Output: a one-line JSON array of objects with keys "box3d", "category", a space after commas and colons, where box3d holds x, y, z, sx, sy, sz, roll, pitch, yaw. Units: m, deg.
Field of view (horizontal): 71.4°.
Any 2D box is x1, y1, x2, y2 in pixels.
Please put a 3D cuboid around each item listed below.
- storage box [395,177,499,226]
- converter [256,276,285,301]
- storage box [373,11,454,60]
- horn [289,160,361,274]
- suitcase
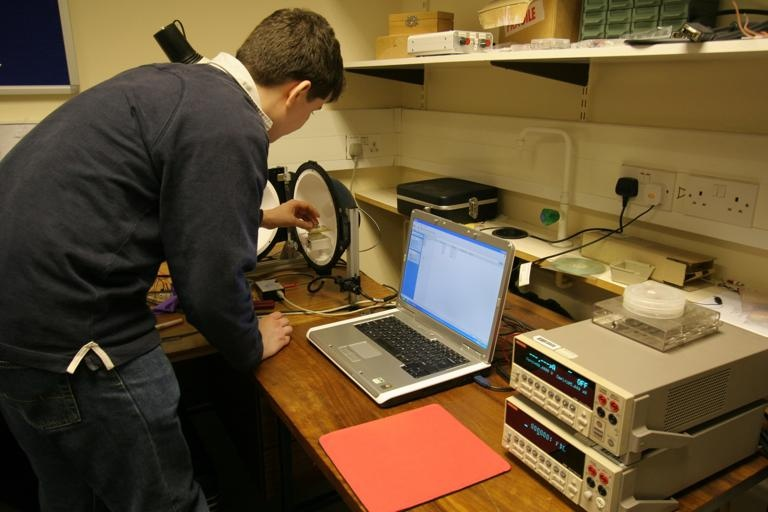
[{"box3d": [0.332, -0.326, 2.670, 0.480, 0.226, 0.481, -6, 18, -29], "category": "storage box"}, {"box3d": [-0.456, 0.109, 2.146, 0.072, 0.043, 0.129, -9, 23, -20], "category": "converter"}, {"box3d": [0.115, -1.085, 2.645, 0.396, 0.201, 0.224, 13, 27, 35], "category": "storage box"}, {"box3d": [-0.236, -0.178, 2.220, 0.174, 0.429, 0.426, -15, 27, -37], "category": "horn"}, {"box3d": [0.325, -0.337, 2.767, 0.490, 0.220, 0.486, -6, 18, -29], "category": "suitcase"}]
